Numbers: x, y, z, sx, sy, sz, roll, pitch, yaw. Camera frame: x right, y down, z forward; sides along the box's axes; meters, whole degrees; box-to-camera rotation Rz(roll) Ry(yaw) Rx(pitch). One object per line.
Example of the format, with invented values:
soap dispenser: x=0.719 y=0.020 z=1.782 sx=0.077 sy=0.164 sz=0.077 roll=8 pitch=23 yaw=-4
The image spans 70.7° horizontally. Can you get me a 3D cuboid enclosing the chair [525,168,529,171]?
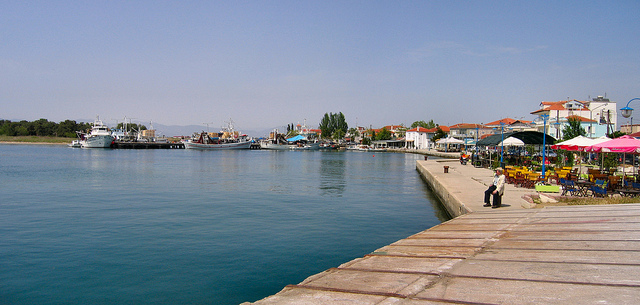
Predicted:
chair: x=19.886 y=1.616 z=43.158 sx=0.298 sy=0.168 sz=0.285 roll=3 pitch=7 yaw=32

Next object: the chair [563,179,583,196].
chair: x=19.663 y=2.707 z=35.157 sx=1.546 sy=1.436 sz=1.516 roll=-2 pitch=-2 yaw=38

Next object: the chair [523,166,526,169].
chair: x=20.658 y=1.471 z=45.306 sx=0.375 sy=0.308 sz=0.198 roll=-10 pitch=-21 yaw=-49

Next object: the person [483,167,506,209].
person: x=12.916 y=2.589 z=33.200 sx=1.320 sy=2.905 sz=1.131 roll=0 pitch=0 yaw=17

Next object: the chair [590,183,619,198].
chair: x=20.861 y=2.796 z=33.484 sx=0.934 sy=0.908 sz=0.956 roll=0 pitch=0 yaw=-20

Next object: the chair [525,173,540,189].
chair: x=18.578 y=2.384 z=39.177 sx=1.685 sy=1.340 sz=1.226 roll=2 pitch=10 yaw=21

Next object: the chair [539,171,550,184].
chair: x=19.736 y=2.141 z=39.368 sx=0.999 sy=1.020 sz=0.426 roll=4 pitch=-24 yaw=33
